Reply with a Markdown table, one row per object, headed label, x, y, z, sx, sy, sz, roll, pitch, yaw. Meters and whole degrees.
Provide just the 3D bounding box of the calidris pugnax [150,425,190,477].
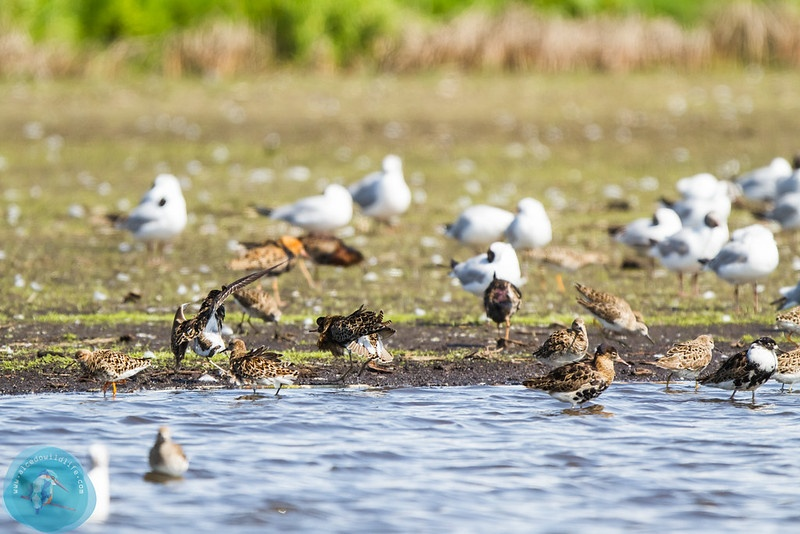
| label | x | y | z | sx | sy | sz | roll | pitch | yaw |
| --- | --- | --- | --- | --- | --- | --- | --- | --- | --- |
| calidris pugnax | -3.332 | 2.622 | 14.654 | 0.566 | 0.645 | 0.372 | 14 | 37 | 19 |
